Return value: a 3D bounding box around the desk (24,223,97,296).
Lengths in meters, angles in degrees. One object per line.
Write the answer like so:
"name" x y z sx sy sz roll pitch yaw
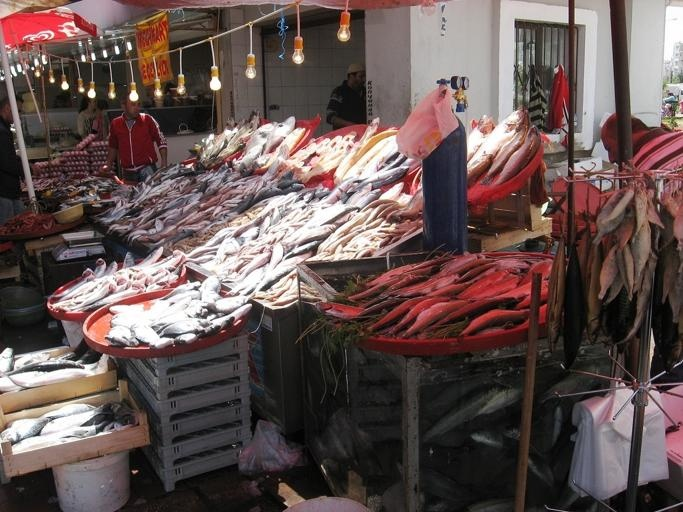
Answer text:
"desk" -2.711 0.037 5.910 0.592 0.416 0.413 -17 25 -35

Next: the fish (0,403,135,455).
"fish" -1.564 0.984 3.483 0.453 0.145 0.330 -9 -1 8

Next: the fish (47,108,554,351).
"fish" -0.384 -0.220 4.505 2.355 0.591 1.695 -20 12 15

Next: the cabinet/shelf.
"cabinet/shelf" -0.969 0.857 4.018 0.738 0.937 1.275 -6 10 -27

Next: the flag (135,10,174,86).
"flag" -2.608 -2.963 8.575 0.454 0.938 1.221 -10 15 -17

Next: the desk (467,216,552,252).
"desk" 1.229 -0.127 4.258 0.692 0.187 0.259 -10 15 -17

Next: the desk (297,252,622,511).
"desk" 0.539 0.601 3.204 1.248 1.266 1.161 -8 12 -33
